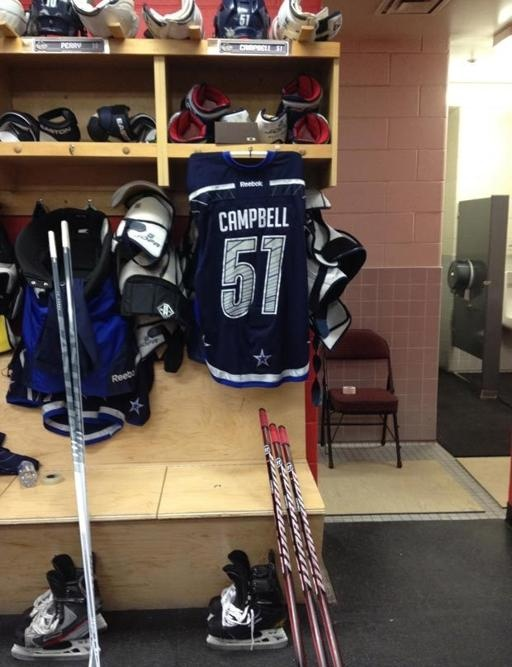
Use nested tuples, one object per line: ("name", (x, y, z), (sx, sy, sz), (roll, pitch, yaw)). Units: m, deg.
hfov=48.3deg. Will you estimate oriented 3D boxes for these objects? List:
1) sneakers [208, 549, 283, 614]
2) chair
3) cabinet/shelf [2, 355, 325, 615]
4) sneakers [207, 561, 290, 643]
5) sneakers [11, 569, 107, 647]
("sneakers", (-0.043, 0.811, 1.980), (0.198, 0.228, 0.180), (-17, 8, -5))
("chair", (0.640, 0.377, 3.488), (0.514, 0.777, 0.583), (1, 8, 11))
("cabinet/shelf", (-0.364, 0.544, 2.031), (0.857, 0.603, 0.312), (-1, 9, -3))
("sneakers", (-0.034, 0.903, 1.936), (0.290, 0.257, 0.219), (0, -4, -6))
("sneakers", (-0.646, 0.902, 1.875), (0.329, 0.235, 0.109), (-14, -1, -4))
